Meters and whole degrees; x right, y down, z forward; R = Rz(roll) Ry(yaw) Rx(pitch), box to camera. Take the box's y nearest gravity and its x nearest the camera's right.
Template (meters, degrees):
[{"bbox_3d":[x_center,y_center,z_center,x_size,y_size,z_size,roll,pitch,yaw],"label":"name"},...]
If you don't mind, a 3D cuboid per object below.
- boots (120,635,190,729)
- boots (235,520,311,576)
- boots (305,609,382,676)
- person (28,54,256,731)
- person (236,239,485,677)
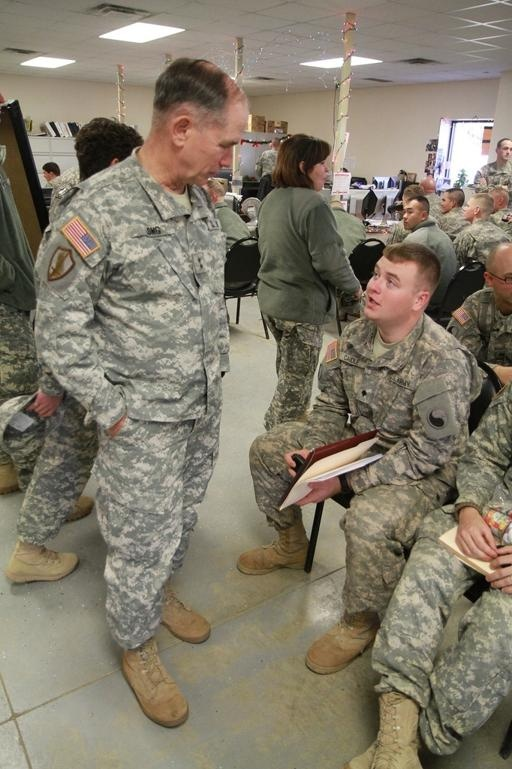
[{"bbox_3d":[-0.237,0.745,1.523,0.101,0.147,0.253,-17,33,-34],"label":"boots"},{"bbox_3d":[0.054,0.557,2.039,0.331,0.212,0.125,4,22,-8],"label":"boots"},{"bbox_3d":[0.247,0.712,1.639,0.254,0.143,0.090,-4,8,-35],"label":"boots"},{"bbox_3d":[-0.255,-0.027,1.372,0.310,1.341,0.500,17,30,29],"label":"person"},{"bbox_3d":[0.338,0.153,1.781,0.693,1.105,0.624,-9,22,-24],"label":"person"}]
